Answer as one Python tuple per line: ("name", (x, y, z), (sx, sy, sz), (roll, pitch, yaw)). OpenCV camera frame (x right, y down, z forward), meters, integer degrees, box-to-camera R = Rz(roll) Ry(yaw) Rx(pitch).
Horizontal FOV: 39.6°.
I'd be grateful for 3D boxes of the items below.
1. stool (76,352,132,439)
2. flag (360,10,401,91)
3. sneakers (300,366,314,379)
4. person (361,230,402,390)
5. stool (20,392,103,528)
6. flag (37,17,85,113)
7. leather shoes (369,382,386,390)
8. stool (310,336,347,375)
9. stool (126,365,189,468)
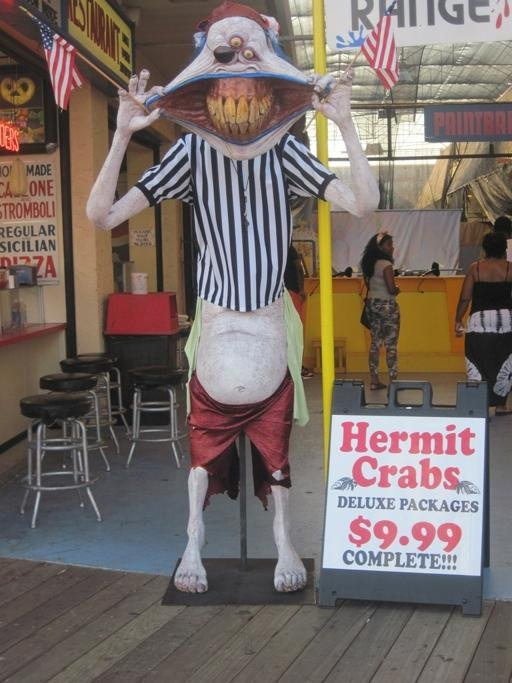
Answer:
("stool", (-1.284, 0.447, 6.128), (0.416, 0.572, 0.438), (-4, 2, 33))
("flag", (0.409, -0.952, 2.357), (0.115, 0.262, 0.186), (-1, 4, 9))
("sneakers", (0.647, 0.394, 8.912), (0.196, 0.213, 0.564), (-1, 1, 3))
("person", (1.321, -0.309, 7.580), (0.393, 1.718, 0.600), (-1, 4, 8))
("stool", (-1.121, 0.649, 4.050), (0.512, 0.653, 0.469), (-1, 1, -1))
("flag", (-0.734, -1.043, 2.669), (0.137, 0.341, 0.037), (-5, -4, -16))
("leather shoes", (1.332, 0.494, 7.839), (0.075, 0.080, 0.213), (0, -3, -28))
("stool", (0.937, 0.186, 9.132), (0.572, 0.490, 0.432), (-1, -2, 2))
("stool", (-0.746, 0.534, 5.250), (0.506, 0.641, 0.442), (-1, 1, -25))
